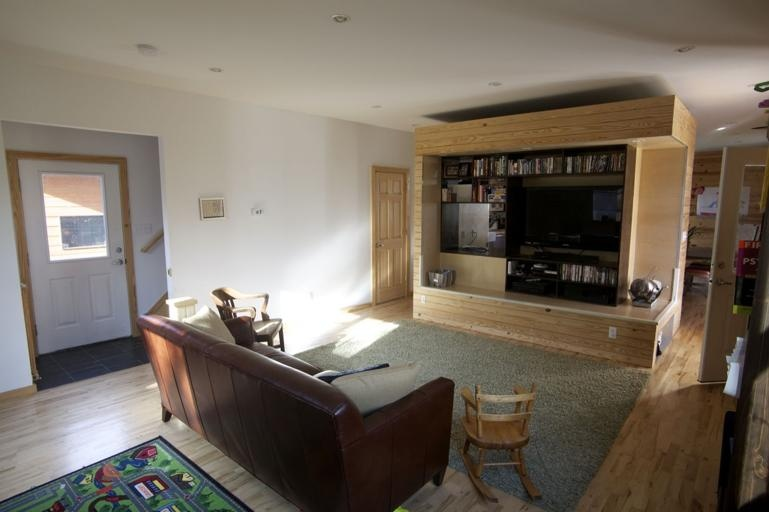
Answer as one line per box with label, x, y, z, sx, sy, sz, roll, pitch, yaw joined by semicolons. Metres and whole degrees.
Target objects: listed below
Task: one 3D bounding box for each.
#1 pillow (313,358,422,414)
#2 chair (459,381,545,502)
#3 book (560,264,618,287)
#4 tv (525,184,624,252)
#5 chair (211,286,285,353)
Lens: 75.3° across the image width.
pillow;-0.081;0.991;3.852;0.509;0.182;0.494;-1;7;-11
chair;0.947;1.473;4.469;0.626;0.858;1.040;-1;22;3
book;2.662;0.238;6.535;0.708;0.264;0.055;3;10;36
tv;2.453;-0.512;6.709;1.384;0.971;0.103;8;22;39
chair;-1.666;0.708;6.341;0.841;1.103;0.867;1;8;7
